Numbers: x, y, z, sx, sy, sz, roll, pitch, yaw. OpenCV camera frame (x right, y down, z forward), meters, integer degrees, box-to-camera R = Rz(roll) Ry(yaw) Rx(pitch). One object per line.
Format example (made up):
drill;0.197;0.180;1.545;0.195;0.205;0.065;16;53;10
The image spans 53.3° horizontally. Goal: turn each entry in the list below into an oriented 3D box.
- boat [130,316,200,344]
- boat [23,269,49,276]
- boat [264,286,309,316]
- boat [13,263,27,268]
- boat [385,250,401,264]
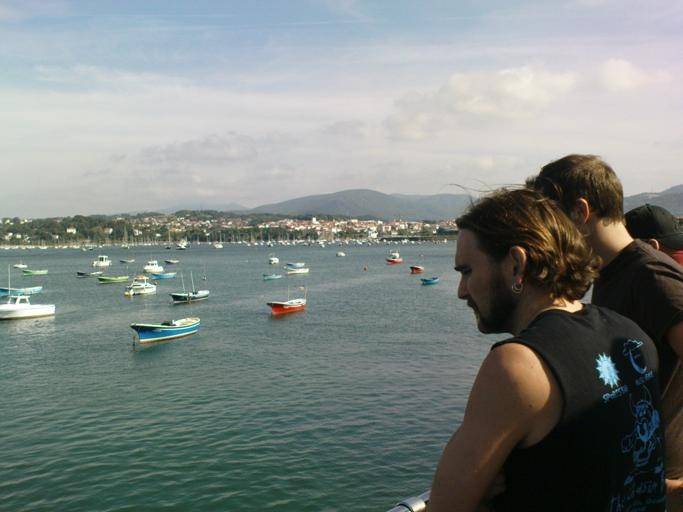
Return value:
boat;-9.803;4.195;37.641;1.413;0.968;4.236;-1;-4;30
boat;-45.555;2.644;101.132;0.767;0.625;3.193;5;4;23
boat;-3.970;3.727;49.120;1.253;1.396;4.121;2;3;27
boat;-56.410;1.983;119.234;2.620;0.674;3.076;1;3;-17
boat;9.083;0.656;119.251;1.751;2.569;6.742;5;7;6
